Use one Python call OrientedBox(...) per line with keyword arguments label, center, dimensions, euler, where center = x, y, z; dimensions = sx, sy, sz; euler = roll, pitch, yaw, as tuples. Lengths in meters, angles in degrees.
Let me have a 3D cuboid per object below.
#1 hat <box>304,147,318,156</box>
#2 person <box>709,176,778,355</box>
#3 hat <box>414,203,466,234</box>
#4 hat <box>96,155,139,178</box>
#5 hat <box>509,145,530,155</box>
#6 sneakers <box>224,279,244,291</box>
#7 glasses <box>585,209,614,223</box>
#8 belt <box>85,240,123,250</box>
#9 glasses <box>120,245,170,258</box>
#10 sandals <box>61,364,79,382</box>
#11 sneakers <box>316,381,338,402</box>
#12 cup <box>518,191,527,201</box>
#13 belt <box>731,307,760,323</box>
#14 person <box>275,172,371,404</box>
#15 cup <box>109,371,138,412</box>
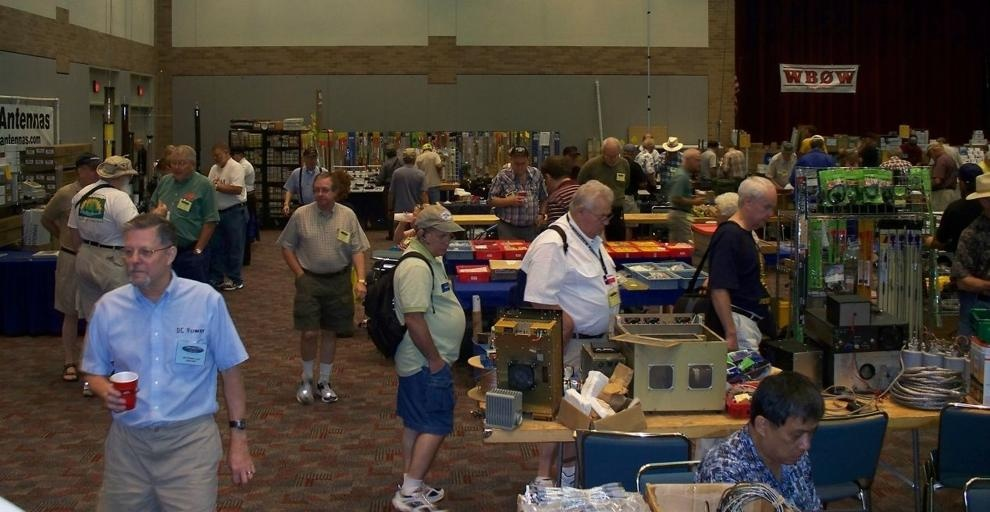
OrientedBox(label="hat", center=(-3.406, -1.896, 14.237), dimensions=(0.382, 0.147, 0.483), euler=(0, 11, -7))
OrientedBox(label="person", center=(2.495, 0.075, 7.804), dimensions=(0.699, 1.702, 0.507), euler=(-3, 8, -19))
OrientedBox(label="hat", center=(-0.559, -0.348, 7.428), dimensions=(0.387, 0.164, 0.241), euler=(1, 13, -5))
OrientedBox(label="hat", center=(-4.464, -1.031, 9.184), dimensions=(0.362, 0.121, 0.345), euler=(-14, 21, -37))
OrientedBox(label="hat", center=(0.316, -1.588, 11.812), dimensions=(0.282, 0.194, 0.275), euler=(4, 4, 22))
OrientedBox(label="sneakers", center=(-4.558, 0.514, 13.533), dimensions=(0.369, 0.145, 0.127), euler=(4, -4, -39))
OrientedBox(label="glasses", center=(1.061, -0.388, 7.658), dimensions=(0.125, 0.153, 0.292), euler=(6, 10, 42))
OrientedBox(label="belt", center=(-4.614, -0.120, 9.052), dimensions=(0.232, 0.052, 0.203), euler=(5, -3, 1))
OrientedBox(label="glasses", center=(-2.793, -0.035, 6.235), dimensions=(0.355, 0.070, 0.086), euler=(-2, 8, -12))
OrientedBox(label="sandals", center=(-5.356, 1.473, 9.755), dimensions=(0.134, 0.103, 0.335), euler=(-3, 6, -18))
OrientedBox(label="sneakers", center=(-2.023, 1.649, 9.372), dimensions=(0.164, 0.117, 0.318), euler=(-2, 4, -30))
OrientedBox(label="cup", center=(0.390, -0.905, 11.700), dimensions=(0.145, 0.101, 0.126), euler=(1, 0, -26))
OrientedBox(label="belt", center=(2.521, 0.584, 7.812), dimensions=(0.191, 0.042, 0.184), euler=(22, 0, -34))
OrientedBox(label="person", center=(-2.022, 0.413, 9.155), dimensions=(0.988, 2.724, 0.450), euler=(-2, 8, -10))
OrientedBox(label="cup", center=(-2.926, 1.060, 6.129), dimensions=(0.194, 0.293, 0.156), euler=(-4, 8, -24))
